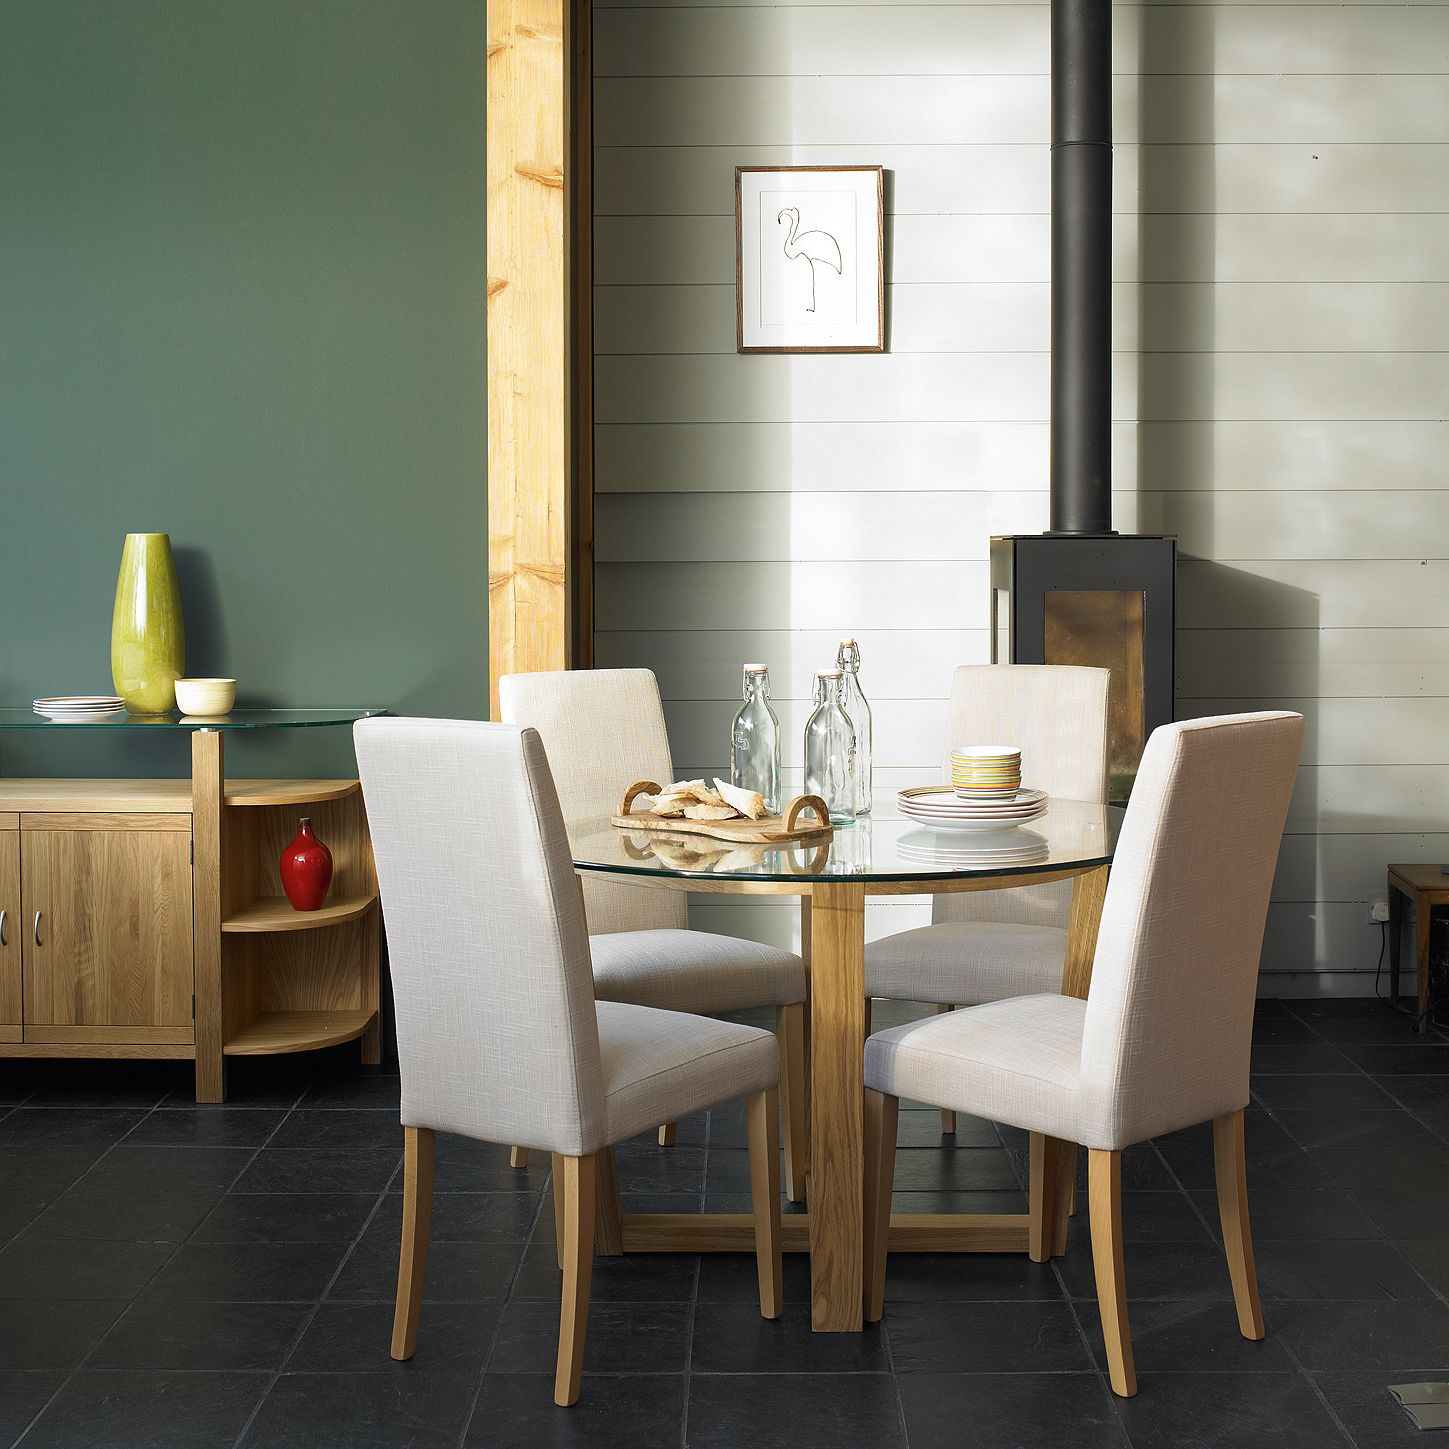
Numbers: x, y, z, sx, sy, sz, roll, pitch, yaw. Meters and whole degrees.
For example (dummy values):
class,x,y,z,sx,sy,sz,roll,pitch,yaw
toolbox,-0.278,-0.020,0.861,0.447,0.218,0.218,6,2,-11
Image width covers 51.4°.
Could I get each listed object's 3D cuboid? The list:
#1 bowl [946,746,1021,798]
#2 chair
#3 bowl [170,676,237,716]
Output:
class,x,y,z,sx,sy,sz,roll,pitch,yaw
bowl,0.419,0.076,2.448,0.075,0.056,0.078,-1,0,0
chair,0.153,0.407,2.108,1.031,0.857,0.936,-1,-1,32
bowl,-1.172,-0.053,3.343,0.084,0.068,0.101,-1,-5,8
